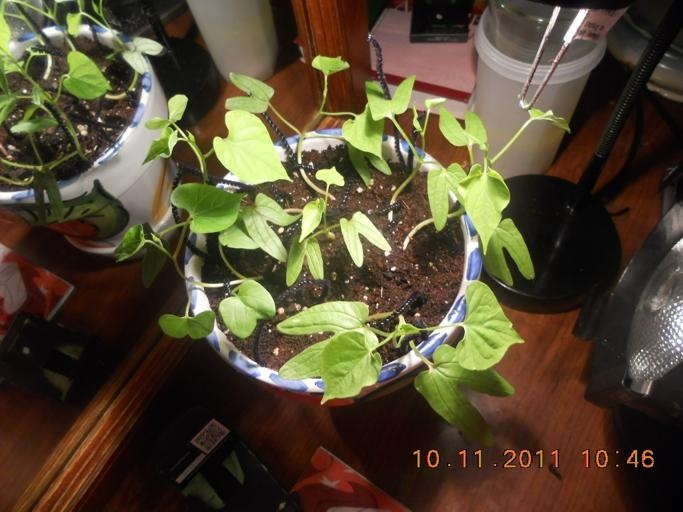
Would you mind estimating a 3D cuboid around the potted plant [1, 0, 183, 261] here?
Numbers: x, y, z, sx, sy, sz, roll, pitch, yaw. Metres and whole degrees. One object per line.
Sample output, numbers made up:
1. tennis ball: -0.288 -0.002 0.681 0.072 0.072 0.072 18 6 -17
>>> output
1. potted plant: -0.376 -0.213 1.021 0.315 0.295 0.387 -13 64 6
